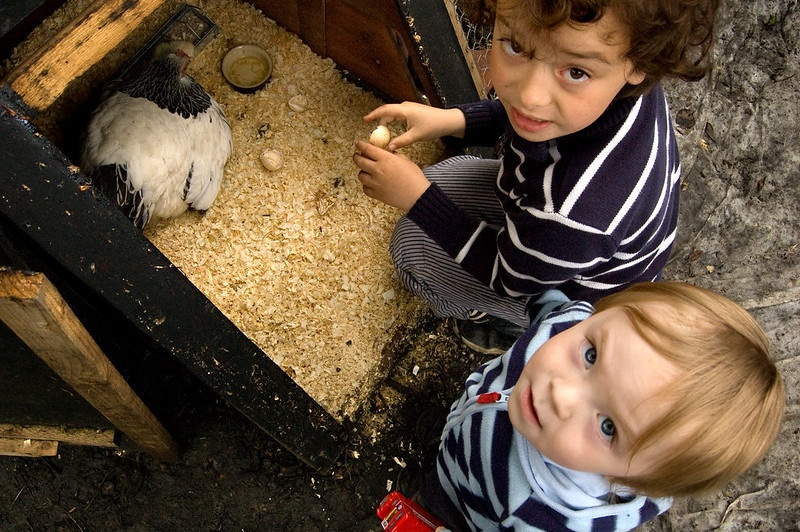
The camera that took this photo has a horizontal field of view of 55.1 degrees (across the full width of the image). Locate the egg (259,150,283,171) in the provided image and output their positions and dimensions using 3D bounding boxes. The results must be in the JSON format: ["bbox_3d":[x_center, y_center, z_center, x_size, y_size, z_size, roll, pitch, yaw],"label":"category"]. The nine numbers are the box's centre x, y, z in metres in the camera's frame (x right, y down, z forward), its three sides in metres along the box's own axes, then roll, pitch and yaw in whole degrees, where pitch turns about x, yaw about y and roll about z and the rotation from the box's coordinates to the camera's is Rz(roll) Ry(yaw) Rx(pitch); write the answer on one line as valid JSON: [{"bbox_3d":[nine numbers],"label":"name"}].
[{"bbox_3d":[-0.443,-0.366,2.651,0.069,0.041,0.069,-42,91,-2],"label":"egg"}]

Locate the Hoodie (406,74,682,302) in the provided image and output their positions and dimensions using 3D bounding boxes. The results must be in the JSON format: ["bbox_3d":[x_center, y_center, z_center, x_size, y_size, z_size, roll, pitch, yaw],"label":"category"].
[{"bbox_3d":[0.347,-0.139,2.065,0.626,0.612,0.523,12,74,2],"label":"Hoodie"}]

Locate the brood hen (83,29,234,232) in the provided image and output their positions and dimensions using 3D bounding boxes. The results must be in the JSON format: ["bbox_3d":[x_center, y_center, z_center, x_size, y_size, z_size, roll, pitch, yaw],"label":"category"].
[{"bbox_3d":[-0.724,-0.395,2.545,0.367,0.413,0.611,14,62,-6],"label":"brood hen"}]

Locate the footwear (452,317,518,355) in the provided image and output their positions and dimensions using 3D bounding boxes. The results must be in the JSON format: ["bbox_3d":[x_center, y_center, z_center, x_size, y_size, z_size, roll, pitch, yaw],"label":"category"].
[{"bbox_3d":[0.331,0.277,2.799,0.118,0.357,0.150,-2,84,13],"label":"footwear"}]
